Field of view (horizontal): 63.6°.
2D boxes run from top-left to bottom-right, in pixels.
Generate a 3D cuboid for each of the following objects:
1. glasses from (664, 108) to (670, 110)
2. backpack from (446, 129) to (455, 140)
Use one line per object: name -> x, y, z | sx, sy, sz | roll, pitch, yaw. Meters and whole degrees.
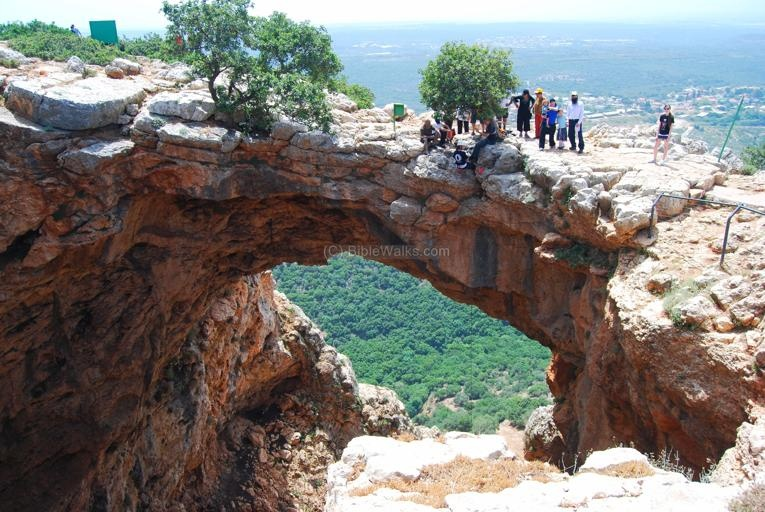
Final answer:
glasses -> 9.459, -4.919, 20.516 | 0.069, 0.099, 0.097 | 8, 1, -32
backpack -> 2.635, -4.760, 23.934 | 0.276, 0.463, 0.424 | -4, -3, 14
